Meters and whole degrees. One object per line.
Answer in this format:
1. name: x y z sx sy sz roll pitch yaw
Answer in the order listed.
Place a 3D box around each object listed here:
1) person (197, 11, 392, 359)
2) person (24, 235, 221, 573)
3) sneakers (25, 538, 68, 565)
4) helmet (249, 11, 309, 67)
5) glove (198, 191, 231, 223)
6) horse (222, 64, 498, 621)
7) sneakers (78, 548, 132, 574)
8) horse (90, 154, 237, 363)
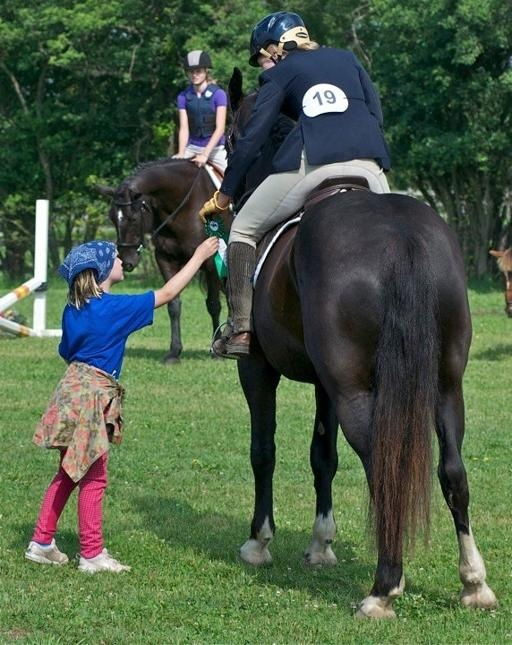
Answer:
1. person: 0.245 -0.929 7.068 1.194 2.122 1.238 0 -2 8
2. person: -0.949 0.480 6.694 0.619 1.957 0.755 3 2 35
3. sneakers: -1.254 1.384 6.709 0.264 0.123 0.109 15 -2 -20
4. helmet: 0.145 -1.872 7.248 0.433 0.320 0.346 3 14 39
5. glove: -0.268 -0.787 7.451 0.081 0.159 0.259 13 -18 -18
6. horse: 0.610 0.341 6.538 1.179 2.340 1.823 1 2 -27
7. sneakers: -0.912 1.418 6.618 0.338 0.146 0.115 2 -3 -5
8. horse: -0.724 -0.789 13.727 0.873 2.414 3.212 11 12 33
